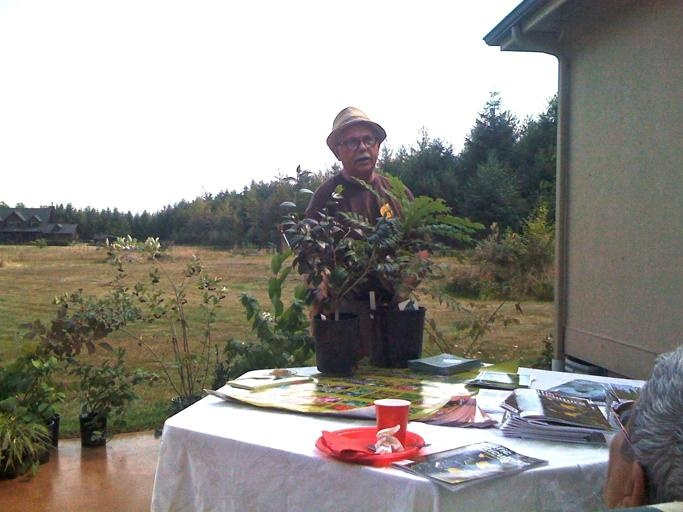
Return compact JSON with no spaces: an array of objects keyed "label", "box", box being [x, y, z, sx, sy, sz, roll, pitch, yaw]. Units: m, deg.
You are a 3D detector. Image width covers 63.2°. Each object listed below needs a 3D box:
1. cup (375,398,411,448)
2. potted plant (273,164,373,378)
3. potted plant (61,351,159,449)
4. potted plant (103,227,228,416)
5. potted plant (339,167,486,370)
[{"label":"cup","box":[0.160,0.518,1.738,0.114,0.136,0.120,-1,-7,0]},{"label":"potted plant","box":[-0.073,0.070,2.887,0.471,1.088,0.781,-2,4,1]},{"label":"potted plant","box":[-1.874,1.021,4.564,0.710,0.851,0.704,2,9,-34]},{"label":"potted plant","box":[-1.474,0.567,4.530,0.689,1.676,1.019,-32,-30,29]},{"label":"potted plant","box":[0.380,0.110,3.304,0.878,1.367,1.272,3,2,16]}]
